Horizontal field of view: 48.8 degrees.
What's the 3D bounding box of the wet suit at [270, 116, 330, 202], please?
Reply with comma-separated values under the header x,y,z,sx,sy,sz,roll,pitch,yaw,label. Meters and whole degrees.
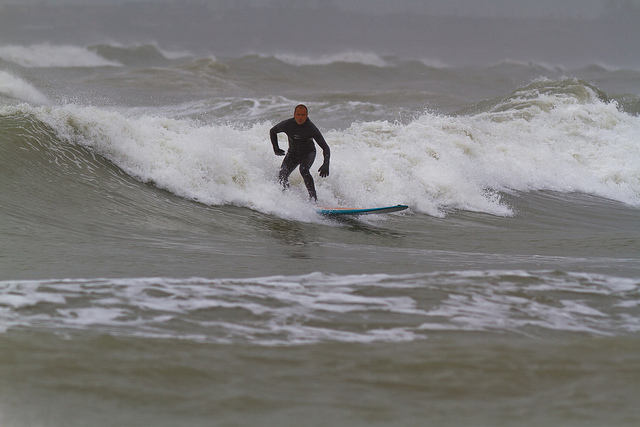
x,y,z,sx,sy,sz,roll,pitch,yaw,label
-0.329,-0.977,12.240,0.802,1.358,1.235,-20,52,-27,wet suit
